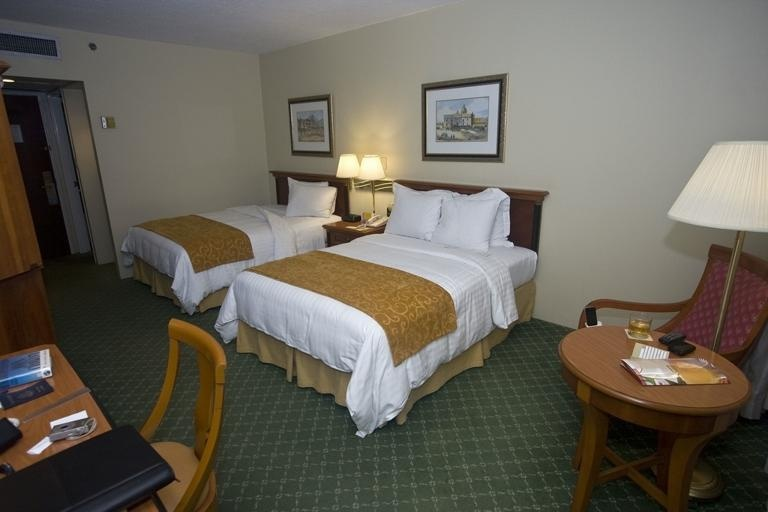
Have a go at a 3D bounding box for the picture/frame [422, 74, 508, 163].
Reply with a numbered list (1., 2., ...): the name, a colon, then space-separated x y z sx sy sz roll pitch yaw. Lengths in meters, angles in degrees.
1. picture/frame: 0.889 -1.538 5.554 1.070 0.948 0.084 13 22 32

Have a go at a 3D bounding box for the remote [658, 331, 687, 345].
1. remote: 2.074 0.596 3.544 0.151 0.042 0.088 -14 16 -25

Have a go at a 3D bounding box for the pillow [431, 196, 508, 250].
1. pillow: 1.009 -0.401 5.410 0.878 0.613 0.552 11 19 41

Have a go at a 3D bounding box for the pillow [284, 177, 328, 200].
1. pillow: -1.082 -0.964 6.968 0.436 0.290 0.062 4 3 40

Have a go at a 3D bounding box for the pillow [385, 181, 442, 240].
1. pillow: 0.342 -0.464 5.575 0.616 0.586 0.187 17 3 44

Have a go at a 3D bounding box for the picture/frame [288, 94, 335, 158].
1. picture/frame: -1.064 -1.863 7.088 1.040 0.812 0.056 7 16 34

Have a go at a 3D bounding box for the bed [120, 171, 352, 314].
1. bed: -1.893 -0.099 7.472 3.305 1.781 3.421 -9 20 -28

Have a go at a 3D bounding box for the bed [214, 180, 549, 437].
1. bed: 0.253 0.317 4.910 2.309 1.479 2.771 12 18 43

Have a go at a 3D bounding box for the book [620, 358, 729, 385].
1. book: 1.937 0.776 3.273 0.632 0.079 0.210 0 18 -2

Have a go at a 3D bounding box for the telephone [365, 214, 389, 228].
1. telephone: -0.080 -0.437 6.229 0.152 0.071 0.217 14 27 40

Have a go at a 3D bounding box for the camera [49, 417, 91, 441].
1. camera: -1.773 0.987 2.791 0.128 0.034 0.128 -4 10 -32
